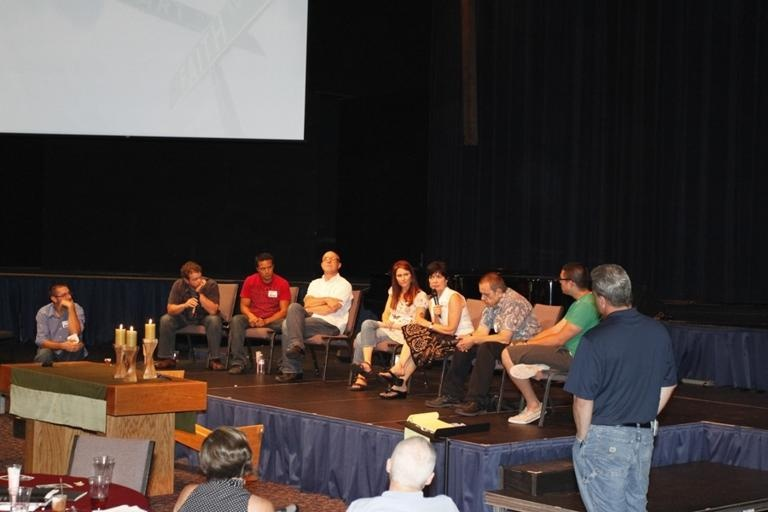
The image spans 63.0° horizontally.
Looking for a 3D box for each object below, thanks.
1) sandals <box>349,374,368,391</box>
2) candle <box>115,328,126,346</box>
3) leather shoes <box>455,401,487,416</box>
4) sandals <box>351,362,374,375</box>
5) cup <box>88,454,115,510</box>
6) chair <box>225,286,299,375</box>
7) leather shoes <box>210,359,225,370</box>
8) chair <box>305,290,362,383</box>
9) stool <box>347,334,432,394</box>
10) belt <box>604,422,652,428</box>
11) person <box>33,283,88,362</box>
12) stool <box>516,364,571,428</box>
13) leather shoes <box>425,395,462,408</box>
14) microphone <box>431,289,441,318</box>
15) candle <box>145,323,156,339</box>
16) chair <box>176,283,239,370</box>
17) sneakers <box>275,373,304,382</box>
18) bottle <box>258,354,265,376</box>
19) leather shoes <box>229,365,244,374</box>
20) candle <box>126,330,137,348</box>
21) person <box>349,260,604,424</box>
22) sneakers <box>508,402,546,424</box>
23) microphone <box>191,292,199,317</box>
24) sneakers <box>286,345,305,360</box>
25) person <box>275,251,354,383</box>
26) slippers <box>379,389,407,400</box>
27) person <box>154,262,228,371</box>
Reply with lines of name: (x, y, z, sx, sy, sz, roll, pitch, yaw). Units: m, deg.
sandals: (-0.270, 1.291, 6.432, 0.112, 0.142, 0.360, -1, -9, 4)
candle: (-1.991, 0.592, 4.728, 0.058, 0.155, 0.069, 1, -2, -31)
leather shoes: (0.746, 1.311, 5.435, 0.261, 0.119, 0.108, 5, -5, -23)
sandals: (-0.230, 1.146, 6.416, 0.225, 0.097, 0.085, 5, 10, 16)
cup: (-1.403, 1.099, 3.101, 0.101, 0.222, 0.258, 1, -3, -26)
chair: (-1.508, 0.890, 7.459, 0.443, 0.732, 0.532, 16, -2, -1)
leather shoes: (-1.970, 1.262, 7.354, 0.125, 0.105, 0.231, 2, -4, -34)
chair: (-0.577, 0.863, 7.150, 0.468, 0.853, 0.589, 4, -11, -9)
stool: (0.045, 1.049, 6.496, 0.657, 0.958, 0.525, 9, -7, -39)
belt: (1.323, 0.895, 3.333, 0.230, 0.036, 0.022, 0, -2, -7)
person: (-3.559, 0.735, 6.891, 0.482, 0.827, 0.607, 1, -3, -29)
stool: (1.258, 1.240, 5.422, 0.356, 0.342, 0.289, -15, -36, 43)
leather shoes: (0.531, 1.301, 5.671, 0.269, 0.120, 0.127, 4, -7, -14)
microphone: (0.533, 0.481, 6.411, 0.068, 0.281, 0.089, -8, -5, -6)
candle: (-1.797, 0.564, 4.797, 0.067, 0.130, 0.246, 1, -3, -23)
chair: (-2.176, 0.892, 7.803, 0.536, 0.900, 0.701, 5, 33, 0)
sneakers: (-1.036, 1.312, 6.823, 0.289, 0.130, 0.105, 8, -7, -33)
bottle: (-1.422, 1.240, 7.227, 0.091, 0.199, 0.264, 0, -3, -9)
leather shoes: (-1.682, 1.279, 7.123, 0.183, 0.087, 0.159, 1, -4, -23)
candle: (-1.948, 0.614, 4.813, 0.069, 0.147, 0.156, 1, -3, -27)
person: (0.788, 0.815, 5.377, 1.768, 1.123, 0.842, 0, -1, -8)
sneakers: (1.156, 1.292, 5.123, 0.300, 0.133, 0.131, -14, 1, -14)
microphone: (-2.290, 0.613, 7.570, 0.051, 0.233, 0.072, 2, 0, 3)
sneakers: (-0.970, 1.078, 6.821, 0.207, 0.118, 0.205, 0, 20, -13)
person: (-0.812, 0.650, 7.128, 0.938, 1.421, 0.457, 2, -3, -35)
slippers: (0.094, 1.319, 6.047, 0.181, 0.063, 0.116, 2, -3, -9)
person: (-2.294, 0.702, 7.579, 0.845, 1.245, 0.382, -1, -2, 14)
